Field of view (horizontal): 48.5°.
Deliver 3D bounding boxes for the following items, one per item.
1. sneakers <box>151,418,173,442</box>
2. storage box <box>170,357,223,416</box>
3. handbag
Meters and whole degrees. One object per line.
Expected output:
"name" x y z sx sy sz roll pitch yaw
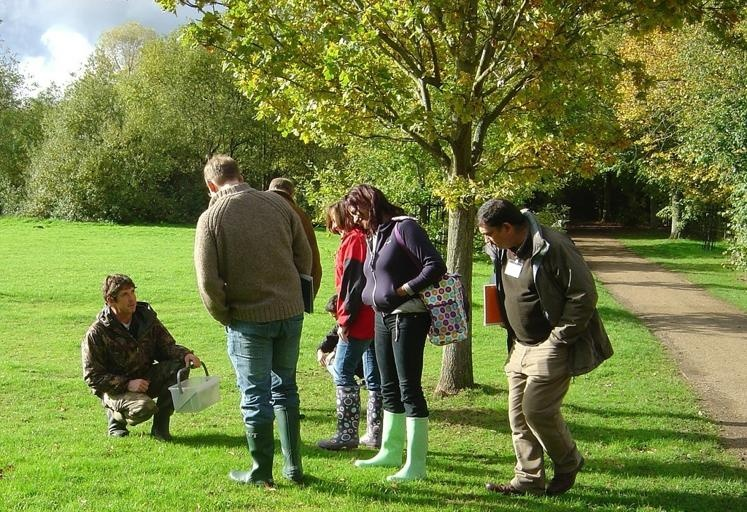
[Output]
"sneakers" -2.900 2.312 11.199 0.314 0.318 0.241 1 1 -2
"storage box" -2.297 1.661 10.616 0.440 0.521 0.632 -4 6 17
"handbag" 0.869 0.649 10.355 0.588 0.625 0.380 1 1 2
